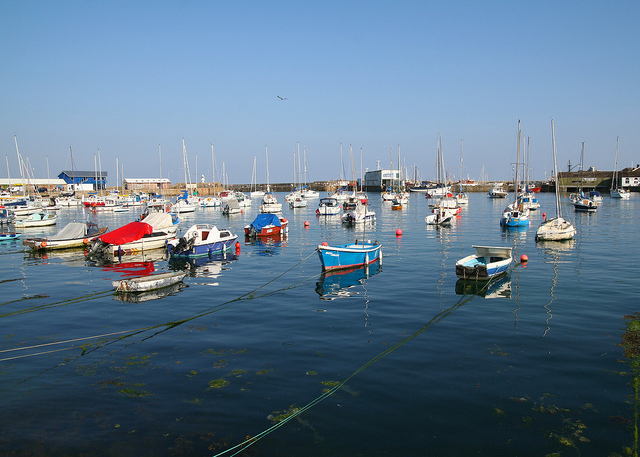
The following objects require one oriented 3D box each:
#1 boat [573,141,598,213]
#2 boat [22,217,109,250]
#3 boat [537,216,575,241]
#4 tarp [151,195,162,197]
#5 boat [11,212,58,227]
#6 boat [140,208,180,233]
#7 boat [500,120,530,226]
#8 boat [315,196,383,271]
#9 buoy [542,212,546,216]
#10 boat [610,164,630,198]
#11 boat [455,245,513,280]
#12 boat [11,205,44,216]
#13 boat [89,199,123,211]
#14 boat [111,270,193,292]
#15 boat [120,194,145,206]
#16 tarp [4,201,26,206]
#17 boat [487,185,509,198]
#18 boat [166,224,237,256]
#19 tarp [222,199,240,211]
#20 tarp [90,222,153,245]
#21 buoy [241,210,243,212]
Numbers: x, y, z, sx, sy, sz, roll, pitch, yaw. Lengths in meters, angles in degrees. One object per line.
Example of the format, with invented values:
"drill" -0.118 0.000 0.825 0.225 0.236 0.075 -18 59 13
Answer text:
"boat" 36.620 -7.815 85.907 2.301 9.404 8.760 1 16 21
"boat" -23.153 0.437 55.332 4.459 2.098 5.543 4 10 19
"boat" 19.529 -0.058 51.046 2.805 1.900 1.670 -3 9 -14
"tarp" -34.951 -7.075 132.088 1.468 0.319 1.348 0 -1 -34
"boat" -31.056 -0.952 67.728 3.373 1.217 2.074 -2 7 -21
"boat" -13.404 -0.704 53.235 1.895 1.581 5.609 -2 3 -4
"boat" 20.580 -5.959 64.679 2.475 10.398 11.357 2 9 17
"boat" 1.905 0.653 39.565 4.385 3.828 1.821 -11 20 -44
"buoy" 29.412 -1.969 80.708 0.600 0.310 0.586 -10 3 8
"boat" 64.407 -9.667 132.263 2.770 3.210 43.011 3 10 25
"boat" 9.879 1.966 36.726 2.466 1.623 4.580 1 5 31
"boat" -35.846 -2.251 75.453 5.855 1.309 1.510 0 8 3
"boat" -35.402 -3.773 100.802 6.049 1.921 2.051 -2 7 -9
"boat" -9.435 2.921 34.494 1.073 0.864 3.691 8 12 43
"boat" -33.506 -5.387 109.581 2.404 1.483 3.897 -3 3 -40
"tarp" -42.839 -3.583 86.886 3.947 0.879 0.765 -1 9 10
"boat" 38.194 -7.788 131.840 2.646 2.150 4.867 3 9 19
"boat" -8.469 0.918 45.163 2.379 1.657 4.451 6 11 32
"tarp" -12.109 -3.424 86.222 1.757 0.987 2.536 -1 1 -5
"tarp" -14.689 0.301 46.956 1.888 1.200 3.702 6 11 35
"buoy" -11.874 -2.737 94.006 0.437 0.470 0.454 1 5 18
